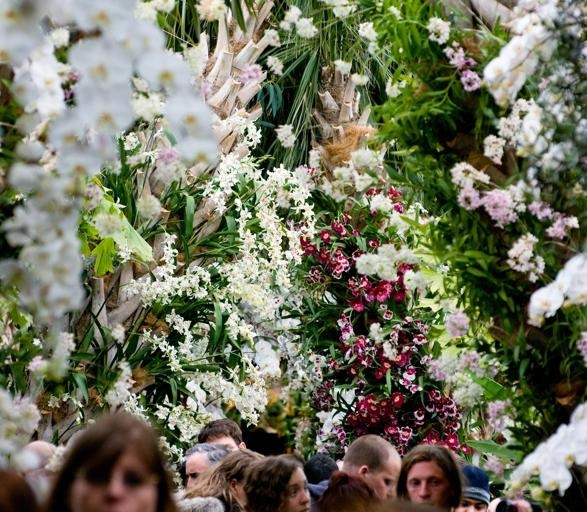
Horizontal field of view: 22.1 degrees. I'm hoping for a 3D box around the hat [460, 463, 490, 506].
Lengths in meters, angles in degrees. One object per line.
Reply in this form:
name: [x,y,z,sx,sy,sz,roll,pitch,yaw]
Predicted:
hat: [0.559,0.702,4.685,0.081,0.122,0.101,3,67,6]
